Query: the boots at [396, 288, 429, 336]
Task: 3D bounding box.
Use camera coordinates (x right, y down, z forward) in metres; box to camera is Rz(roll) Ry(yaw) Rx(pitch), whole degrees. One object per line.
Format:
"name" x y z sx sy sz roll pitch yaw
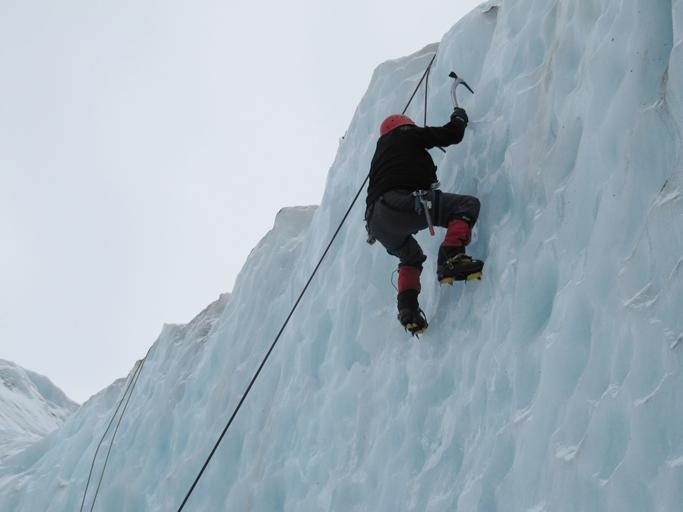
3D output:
"boots" 0.659 0.484 8.290 0.252 0.195 0.342 5 -87 8

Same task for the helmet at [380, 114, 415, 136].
"helmet" 0.511 -1.223 8.656 0.246 0.194 0.149 -32 -90 -5

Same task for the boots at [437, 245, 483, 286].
"boots" 1.017 0.053 8.015 0.388 0.186 0.271 -4 -52 10
